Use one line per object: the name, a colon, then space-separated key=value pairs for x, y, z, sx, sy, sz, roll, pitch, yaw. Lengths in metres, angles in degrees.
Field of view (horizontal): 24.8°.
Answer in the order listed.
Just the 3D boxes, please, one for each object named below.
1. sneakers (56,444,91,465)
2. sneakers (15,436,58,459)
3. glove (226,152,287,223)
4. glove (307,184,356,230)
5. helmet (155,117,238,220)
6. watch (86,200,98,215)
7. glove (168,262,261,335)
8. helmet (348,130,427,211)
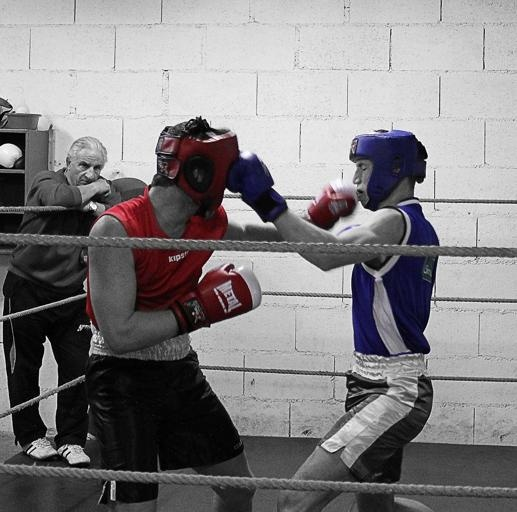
sneakers: x=-0.904 y=0.973 z=5.759 sx=0.145 sy=0.092 sz=0.146 roll=2 pitch=3 yaw=-21
sneakers: x=-1.089 y=0.951 z=5.826 sx=0.136 sy=0.090 sz=0.186 roll=2 pitch=3 yaw=-30
glove: x=0.006 y=-0.241 z=4.427 sx=0.130 sy=0.270 sz=0.205 roll=-45 pitch=22 yaw=-29
glove: x=0.298 y=-0.202 z=4.836 sx=0.212 sy=0.144 sz=0.199 roll=-38 pitch=1 yaw=-10
helmet: x=-0.276 y=-0.321 z=4.461 sx=0.367 sy=0.297 sz=0.276 roll=-5 pitch=15 yaw=-36
watch: x=-0.831 y=-0.234 z=5.851 sx=0.061 sy=0.036 sz=0.064 roll=-12 pitch=-24 yaw=36
glove: x=-0.172 y=0.162 z=4.648 sx=0.414 sy=0.206 sz=0.239 roll=-20 pitch=1 yaw=7
helmet: x=0.532 y=-0.348 z=4.789 sx=0.341 sy=0.278 sz=0.271 roll=2 pitch=0 yaw=-25
